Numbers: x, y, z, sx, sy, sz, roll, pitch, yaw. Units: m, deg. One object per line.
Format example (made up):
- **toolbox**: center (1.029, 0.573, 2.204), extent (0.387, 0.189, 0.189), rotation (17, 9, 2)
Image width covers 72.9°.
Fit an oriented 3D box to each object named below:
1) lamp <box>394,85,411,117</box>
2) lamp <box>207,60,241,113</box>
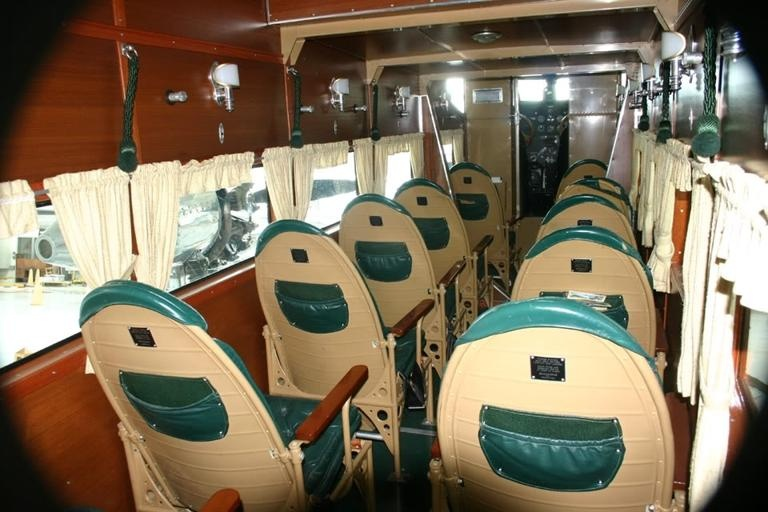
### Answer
- **lamp**: center (0.259, -2.015, 6.774), extent (0.121, 0.388, 0.380), rotation (4, 12, 28)
- **lamp**: center (-1.137, -1.225, 3.753), extent (0.166, 0.350, 0.238), rotation (3, 12, 23)
